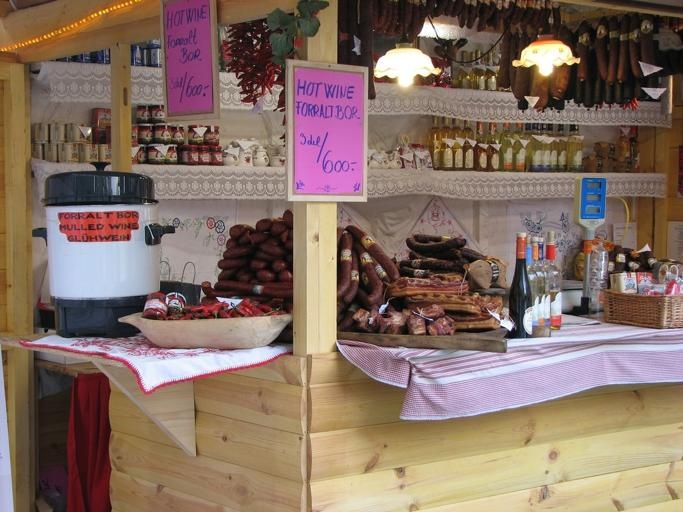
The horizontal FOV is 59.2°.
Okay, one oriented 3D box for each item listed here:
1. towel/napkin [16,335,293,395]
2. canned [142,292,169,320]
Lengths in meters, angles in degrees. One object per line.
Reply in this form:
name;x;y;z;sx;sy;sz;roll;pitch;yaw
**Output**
towel/napkin;-0.752;0.447;2.484;0.592;0.097;0.580;0;1;40
canned;-0.732;0.204;2.419;0.085;0.102;0.108;3;-26;-2
